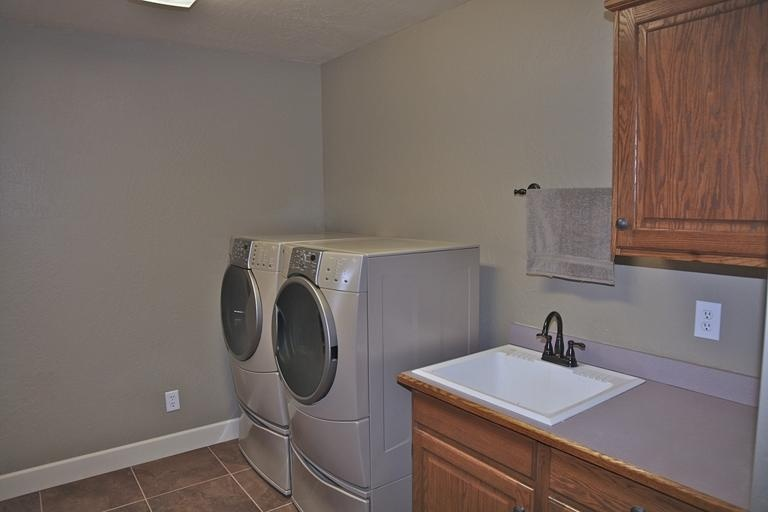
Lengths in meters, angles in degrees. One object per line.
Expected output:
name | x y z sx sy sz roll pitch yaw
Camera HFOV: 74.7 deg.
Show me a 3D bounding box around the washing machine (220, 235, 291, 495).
washing machine | -0.831 0.687 3.329 0.550 1.463 0.716 -1 7 -19
